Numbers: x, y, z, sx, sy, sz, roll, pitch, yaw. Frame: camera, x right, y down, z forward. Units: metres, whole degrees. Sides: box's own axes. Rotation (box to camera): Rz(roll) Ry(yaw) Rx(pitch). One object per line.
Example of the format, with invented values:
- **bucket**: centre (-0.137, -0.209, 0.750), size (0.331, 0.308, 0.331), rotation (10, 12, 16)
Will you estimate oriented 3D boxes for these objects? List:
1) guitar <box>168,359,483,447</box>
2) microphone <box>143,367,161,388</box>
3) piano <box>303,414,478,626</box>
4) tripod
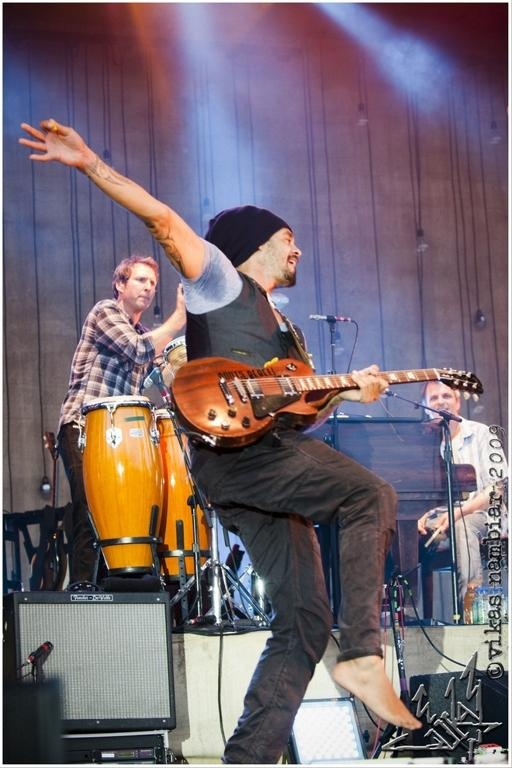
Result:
- **guitar**: centre (0.033, 0.061, 2.695), size (0.255, 0.336, 0.722), rotation (-9, -9, 44)
- **microphone**: centre (-0.608, -0.041, 4.365), size (0.048, 0.116, 0.039), rotation (27, 3, 18)
- **piano**: centre (0.848, 0.745, 4.448), size (1.225, 1.119, 0.815), rotation (-1, 0, 2)
- **tripod**: centre (-0.184, 0.869, 3.621), size (0.525, 0.582, 0.496), rotation (-15, -19, 41)
